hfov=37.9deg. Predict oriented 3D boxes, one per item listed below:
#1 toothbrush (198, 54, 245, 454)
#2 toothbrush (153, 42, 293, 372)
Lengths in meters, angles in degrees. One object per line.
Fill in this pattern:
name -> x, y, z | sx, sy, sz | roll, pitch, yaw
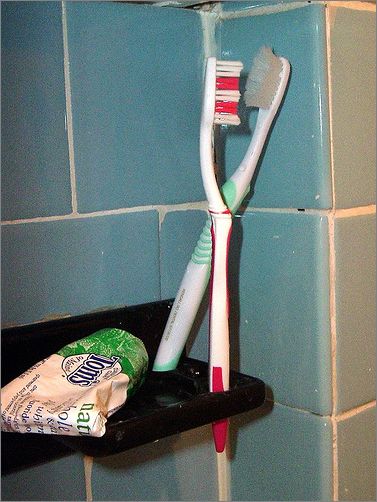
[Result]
toothbrush -> 0.032, 0.007, 0.526 | 0.039, 0.321, 0.028 | 3, 2, 6
toothbrush -> 0.040, -0.054, 0.607 | 0.075, 0.422, 0.089 | 7, 8, -41
